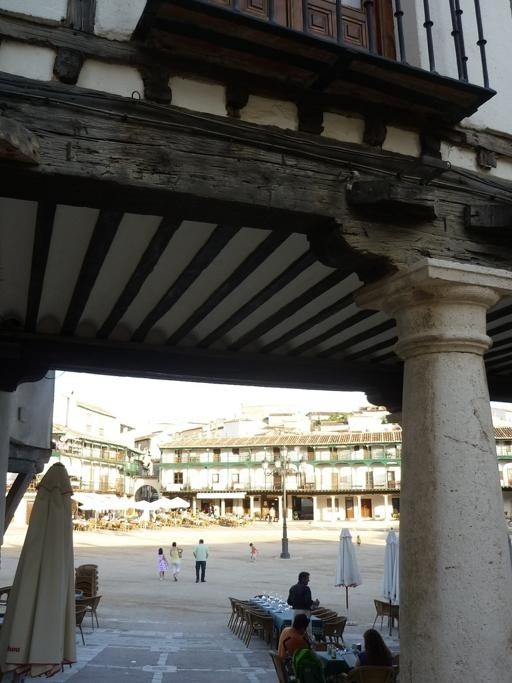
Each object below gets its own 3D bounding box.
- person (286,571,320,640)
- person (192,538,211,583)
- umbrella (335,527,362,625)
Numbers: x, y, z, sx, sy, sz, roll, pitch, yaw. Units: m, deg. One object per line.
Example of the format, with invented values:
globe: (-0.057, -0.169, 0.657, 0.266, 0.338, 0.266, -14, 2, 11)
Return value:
person: (0.660, 3.744, 8.136, 0.350, 1.012, 0.381, 8, -13, -33)
person: (-1.721, 6.755, 18.319, 0.450, 1.385, 1.650, 6, -10, -4)
umbrella: (1.646, 4.095, 10.498, 0.495, 1.472, 0.478, -3, -20, 8)
